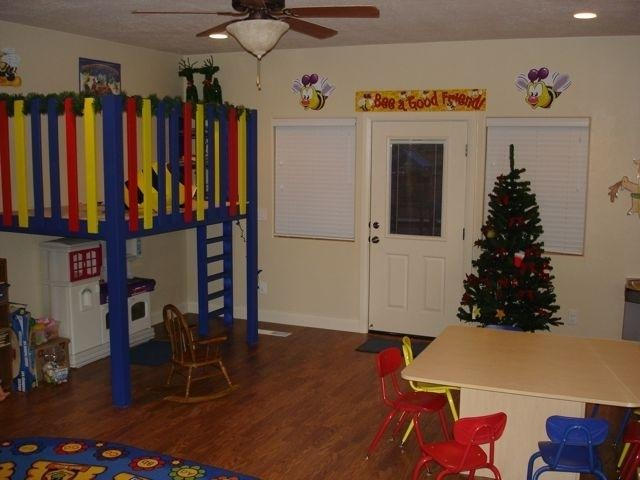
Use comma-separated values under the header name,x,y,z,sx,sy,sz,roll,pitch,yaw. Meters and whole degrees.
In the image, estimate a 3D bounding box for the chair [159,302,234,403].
name,x,y,z,sx,sy,sz,roll,pitch,yaw
chair,-1.215,1.045,4.834,0.743,0.889,0.714,-2,5,-22

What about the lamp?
name,x,y,z,sx,sy,sz,roll,pitch,yaw
lamp,-0.425,-1.226,3.473,0.382,0.432,0.395,14,25,31

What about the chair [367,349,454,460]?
name,x,y,z,sx,sy,sz,roll,pitch,yaw
chair,0.654,1.210,3.721,0.623,0.717,0.640,-1,-2,-22

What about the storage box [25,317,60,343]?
name,x,y,z,sx,sy,sz,roll,pitch,yaw
storage box,-2.737,0.895,4.974,0.192,0.172,0.277,1,-3,6

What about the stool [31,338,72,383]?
name,x,y,z,sx,sy,sz,roll,pitch,yaw
stool,-2.595,1.223,5.075,0.408,0.393,0.243,-14,-1,5
